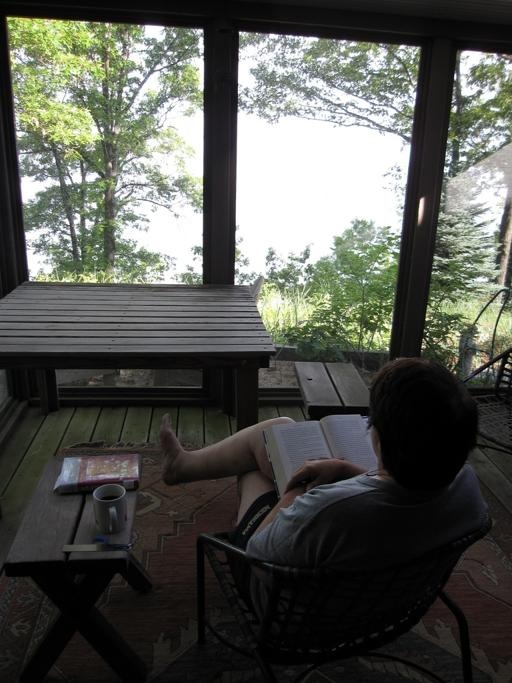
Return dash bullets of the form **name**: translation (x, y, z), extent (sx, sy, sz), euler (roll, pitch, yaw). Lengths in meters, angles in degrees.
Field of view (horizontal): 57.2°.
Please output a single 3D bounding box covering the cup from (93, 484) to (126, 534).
- **cup**: translation (-0.356, 0.396, 1.180), extent (0.075, 0.080, 0.117), euler (-1, 25, -9)
